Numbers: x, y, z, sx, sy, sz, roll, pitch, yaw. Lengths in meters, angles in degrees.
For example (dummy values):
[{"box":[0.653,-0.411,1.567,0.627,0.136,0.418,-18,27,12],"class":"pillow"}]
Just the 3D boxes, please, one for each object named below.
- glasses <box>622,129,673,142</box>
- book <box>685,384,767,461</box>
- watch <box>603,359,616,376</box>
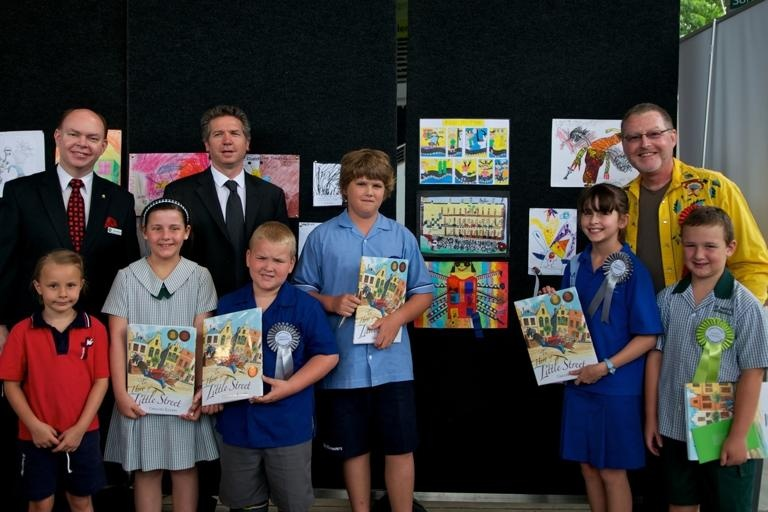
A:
[{"box":[1.525,-0.691,3.917,0.277,0.083,0.105,1,2,15],"class":"glasses"},{"box":[1.722,0.869,3.480,0.477,0.390,0.105,-7,-1,2],"class":"book"},{"box":[1.243,0.616,3.777,0.060,0.073,0.085,-14,11,-11],"class":"watch"}]
